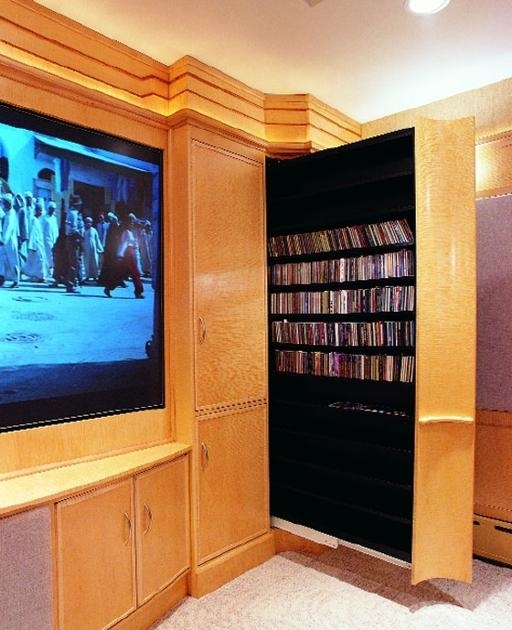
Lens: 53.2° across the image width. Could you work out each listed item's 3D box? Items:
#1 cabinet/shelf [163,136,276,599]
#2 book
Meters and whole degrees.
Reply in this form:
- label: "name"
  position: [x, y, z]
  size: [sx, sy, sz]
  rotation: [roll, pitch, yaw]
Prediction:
- label: "cabinet/shelf"
  position: [-0.191, 0.226, 2.952]
  size: [0.261, 2.483, 0.678]
  rotation: [0, 2, 40]
- label: "book"
  position: [0.517, -0.094, 2.998]
  size: [1.020, 0.914, 0.115]
  rotation: [-2, -1, 38]
